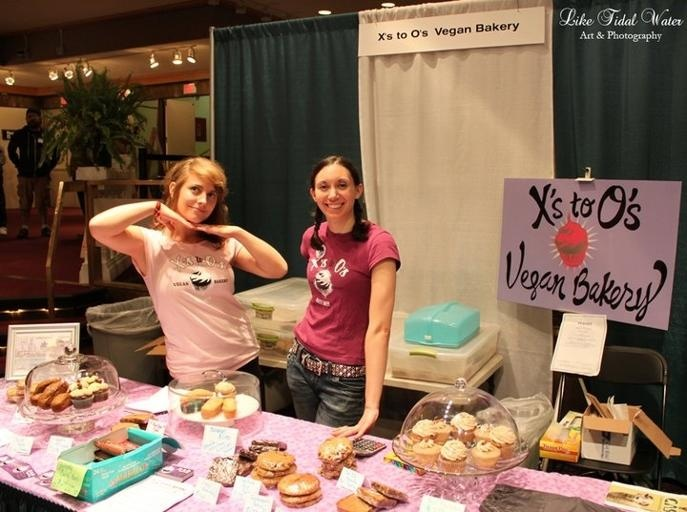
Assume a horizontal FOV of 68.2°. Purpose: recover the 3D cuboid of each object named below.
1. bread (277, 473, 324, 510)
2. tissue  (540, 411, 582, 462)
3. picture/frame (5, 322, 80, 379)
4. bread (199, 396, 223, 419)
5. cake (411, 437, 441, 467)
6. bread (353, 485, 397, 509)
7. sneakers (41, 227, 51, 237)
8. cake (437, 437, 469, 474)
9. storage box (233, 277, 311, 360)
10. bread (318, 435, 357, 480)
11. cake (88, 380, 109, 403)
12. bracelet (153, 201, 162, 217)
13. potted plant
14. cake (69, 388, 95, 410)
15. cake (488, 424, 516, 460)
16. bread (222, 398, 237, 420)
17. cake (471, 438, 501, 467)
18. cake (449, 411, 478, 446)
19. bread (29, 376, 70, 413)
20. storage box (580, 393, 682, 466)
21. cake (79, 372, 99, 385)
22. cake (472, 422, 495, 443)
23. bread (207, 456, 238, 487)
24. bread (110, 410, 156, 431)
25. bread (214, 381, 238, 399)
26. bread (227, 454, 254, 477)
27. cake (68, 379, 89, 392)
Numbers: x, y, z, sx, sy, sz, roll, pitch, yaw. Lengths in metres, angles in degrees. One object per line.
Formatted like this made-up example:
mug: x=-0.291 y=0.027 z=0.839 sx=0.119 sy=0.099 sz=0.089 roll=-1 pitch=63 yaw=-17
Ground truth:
bread: x=-0.136 y=0.737 z=1.609 sx=0.140 sy=0.067 sz=0.114 roll=1 pitch=7 yaw=-10
tissue : x=1.074 y=0.840 z=2.408 sx=0.171 sy=0.065 sz=0.336 roll=-2 pitch=10 yaw=45
picture/frame: x=-1.303 y=0.415 z=2.209 sx=0.255 sy=0.214 sz=0.026 roll=-1 pitch=0 yaw=2
bread: x=-0.471 y=0.542 z=1.813 sx=0.050 sy=0.045 sz=0.086 roll=6 pitch=19 yaw=11
cake: x=0.256 y=0.609 z=1.578 sx=0.070 sy=0.068 sz=0.070 roll=0 pitch=-7 yaw=-1
bread: x=0.100 y=0.742 z=1.559 sx=0.073 sy=0.021 sz=0.074 roll=16 pitch=-7 yaw=23
sneakers: x=-4.885 y=-0.398 z=8.387 sx=0.164 sy=0.187 sz=0.166 roll=7 pitch=7 yaw=33
cake: x=0.339 y=0.618 z=1.573 sx=0.086 sy=0.069 sz=0.096 roll=3 pitch=7 yaw=12
storage box: x=-0.420 y=0.379 z=3.306 sx=0.463 sy=0.279 sz=0.463 roll=-2 pitch=6 yaw=15
bread: x=-0.028 y=0.672 z=1.724 sx=0.116 sy=0.103 sz=0.114 roll=0 pitch=-5 yaw=-33
cake: x=-0.939 y=0.526 z=1.955 sx=0.063 sy=0.053 sz=0.067 roll=1 pitch=-9 yaw=-9
bracelet: x=-0.814 y=-0.206 z=2.228 sx=0.022 sy=0.052 sz=0.044 roll=12 pitch=10 yaw=-27
potted plant: x=-2.402 y=-1.306 z=5.019 sx=1.065 sy=1.241 sz=0.971 roll=11 pitch=19 yaw=15
cake: x=-0.982 y=0.535 z=1.915 sx=0.069 sy=0.049 sz=0.072 roll=3 pitch=-7 yaw=-37
cake: x=0.502 y=0.582 z=1.603 sx=0.083 sy=0.076 sz=0.083 roll=0 pitch=-5 yaw=-1
bread: x=-0.404 y=0.542 z=1.815 sx=0.053 sy=0.039 sz=0.109 roll=1 pitch=11 yaw=-6
cake: x=0.438 y=0.599 z=1.560 sx=0.072 sy=0.062 sz=0.071 roll=0 pitch=-5 yaw=0
cake: x=0.386 y=0.552 z=1.633 sx=0.080 sy=0.092 sz=0.083 roll=0 pitch=-7 yaw=-4
bread: x=-1.098 y=0.507 z=1.907 sx=0.115 sy=0.043 sz=0.114 roll=3 pitch=22 yaw=-7
storage box: x=1.253 y=0.816 z=2.323 sx=0.371 sy=0.254 sz=0.371 roll=4 pitch=0 yaw=20
cake: x=-0.996 y=0.477 z=1.979 sx=0.044 sy=0.015 sz=0.050 roll=4 pitch=9 yaw=11
cake: x=0.444 y=0.562 z=1.617 sx=0.047 sy=0.047 sz=0.053 roll=2 pitch=0 yaw=8
bread: x=-0.392 y=0.702 z=1.662 sx=0.084 sy=0.023 sz=0.084 roll=0 pitch=50 yaw=7
bread: x=-0.808 y=0.639 z=1.980 sx=0.089 sy=0.024 sz=0.092 roll=0 pitch=2 yaw=1
bread: x=-0.434 y=0.493 z=1.866 sx=0.050 sy=0.047 sz=0.061 roll=14 pitch=11 yaw=-31
bread: x=-0.340 y=0.700 z=1.711 sx=0.059 sy=0.016 sz=0.056 roll=5 pitch=14 yaw=-37
cake: x=-1.016 y=0.489 z=1.940 sx=0.040 sy=0.021 sz=0.054 roll=-6 pitch=10 yaw=-7
